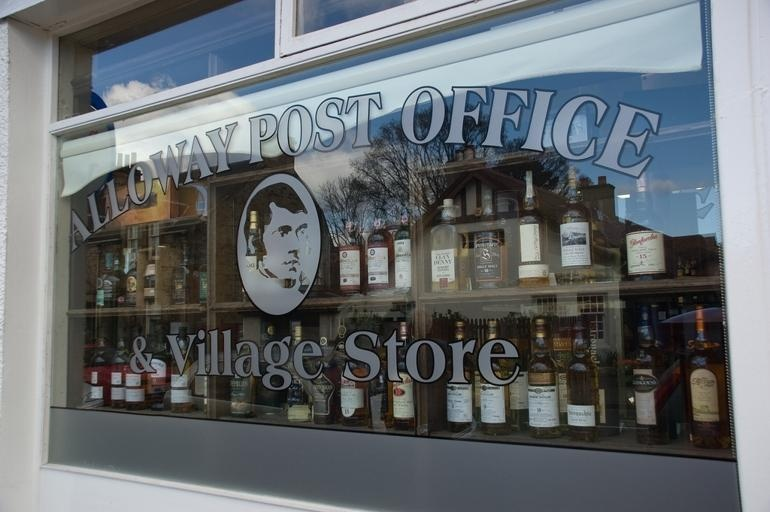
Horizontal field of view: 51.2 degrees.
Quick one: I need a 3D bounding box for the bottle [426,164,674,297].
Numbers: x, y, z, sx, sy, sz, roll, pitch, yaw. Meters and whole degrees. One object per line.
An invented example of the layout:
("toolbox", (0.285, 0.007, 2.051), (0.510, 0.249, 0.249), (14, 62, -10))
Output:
("bottle", (0.504, -0.118, 2.629), (0.771, 0.426, 0.036), (-3, -6, 20))
